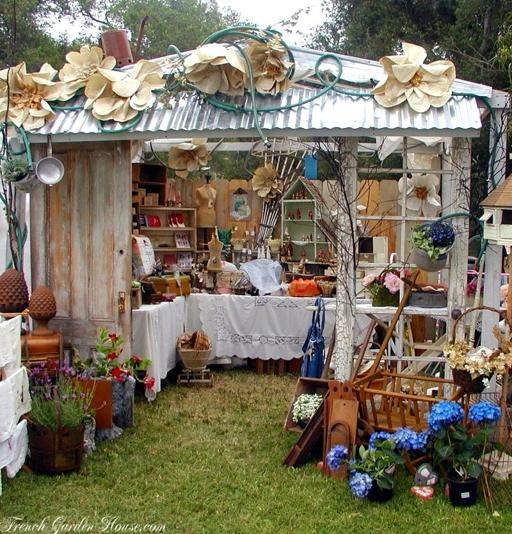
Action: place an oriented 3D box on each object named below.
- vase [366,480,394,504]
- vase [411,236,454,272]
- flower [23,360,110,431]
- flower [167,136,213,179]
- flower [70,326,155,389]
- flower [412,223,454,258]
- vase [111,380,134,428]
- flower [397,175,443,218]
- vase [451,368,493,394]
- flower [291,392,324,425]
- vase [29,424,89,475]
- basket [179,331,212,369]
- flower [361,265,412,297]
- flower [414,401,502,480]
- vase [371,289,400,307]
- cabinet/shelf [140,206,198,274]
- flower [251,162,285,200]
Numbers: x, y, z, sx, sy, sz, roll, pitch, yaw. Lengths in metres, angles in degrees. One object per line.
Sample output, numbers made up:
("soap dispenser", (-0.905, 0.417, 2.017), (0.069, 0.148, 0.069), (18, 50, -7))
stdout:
("vase", (0.778, 1.389, 3.719), (0.116, 0.124, 0.135), (2, -1, 3))
("vase", (1.300, -0.090, 4.470), (0.184, 0.186, 0.198), (4, 2, 45))
("flower", (-1.383, 0.920, 4.369), (0.382, 0.321, 0.485), (8, 2, 0))
("flower", (-0.812, -1.319, 7.227), (0.491, 0.468, 0.428), (-1, 3, -6))
("flower", (-1.275, 0.765, 5.112), (0.556, 0.361, 0.424), (7, 13, 11))
("flower", (1.300, -0.195, 4.385), (0.216, 0.320, 0.147), (-2, -9, 8))
("vase", (-1.109, 1.149, 5.034), (0.173, 0.470, 0.306), (-1, 3, -15))
("flower", (1.486, -0.657, 5.528), (0.359, 0.428, 1.759), (0, 4, 17))
("vase", (1.364, 0.740, 3.840), (0.149, 0.147, 0.177), (3, -3, -8))
("flower", (0.360, 1.175, 4.775), (0.186, 0.248, 0.171), (-4, -1, -30))
("vase", (-1.381, 1.214, 4.194), (0.282, 0.392, 0.357), (0, 0, -10))
("basket", (-0.675, 0.909, 6.654), (0.288, 0.312, 0.384), (1, -5, -3))
("flower", (1.157, 0.105, 5.210), (0.253, 0.204, 0.266), (-6, 1, 38))
("flower", (1.325, 1.088, 3.848), (0.518, 0.497, 0.466), (-2, 3, -21))
("vase", (1.129, 0.279, 5.271), (0.201, 0.194, 0.124), (3, 5, 29))
("cabinet/shelf", (-1.315, -0.398, 8.918), (0.796, 0.961, 0.236), (-2, 1, -43))
("flower", (0.193, -1.382, 9.592), (0.426, 0.582, 0.200), (-8, 14, 20))
